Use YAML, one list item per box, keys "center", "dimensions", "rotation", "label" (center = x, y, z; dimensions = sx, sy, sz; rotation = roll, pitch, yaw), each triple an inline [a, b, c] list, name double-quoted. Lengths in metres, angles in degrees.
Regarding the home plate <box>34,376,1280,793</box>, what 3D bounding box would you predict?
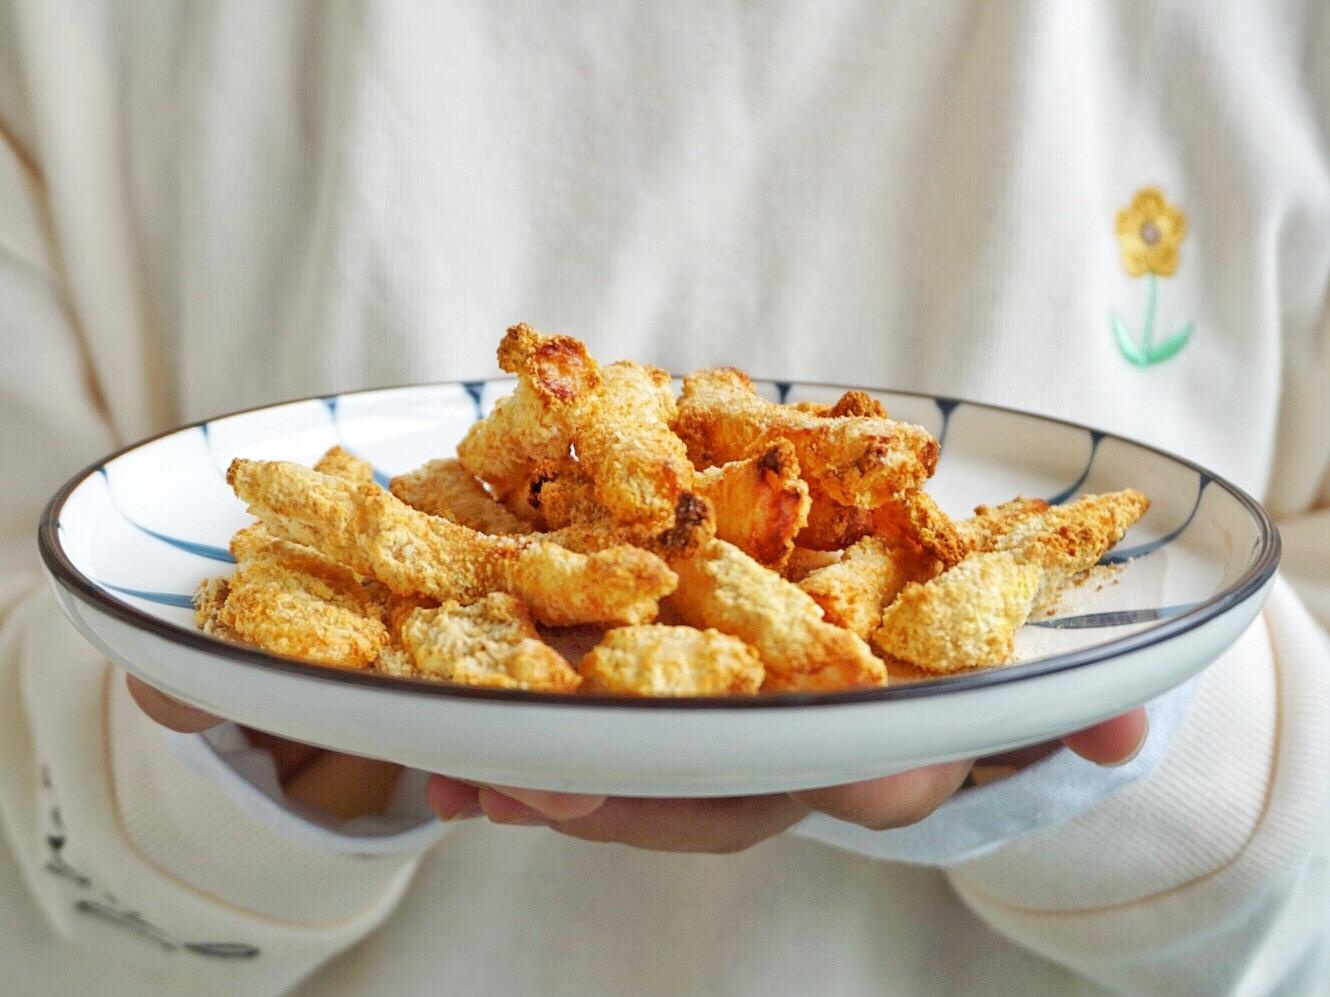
- center: [-0.004, 0.030, 1.148]
  dimensions: [0.904, 0.095, 0.518]
  rotation: [1, 29, 2]
  label: "home plate"
